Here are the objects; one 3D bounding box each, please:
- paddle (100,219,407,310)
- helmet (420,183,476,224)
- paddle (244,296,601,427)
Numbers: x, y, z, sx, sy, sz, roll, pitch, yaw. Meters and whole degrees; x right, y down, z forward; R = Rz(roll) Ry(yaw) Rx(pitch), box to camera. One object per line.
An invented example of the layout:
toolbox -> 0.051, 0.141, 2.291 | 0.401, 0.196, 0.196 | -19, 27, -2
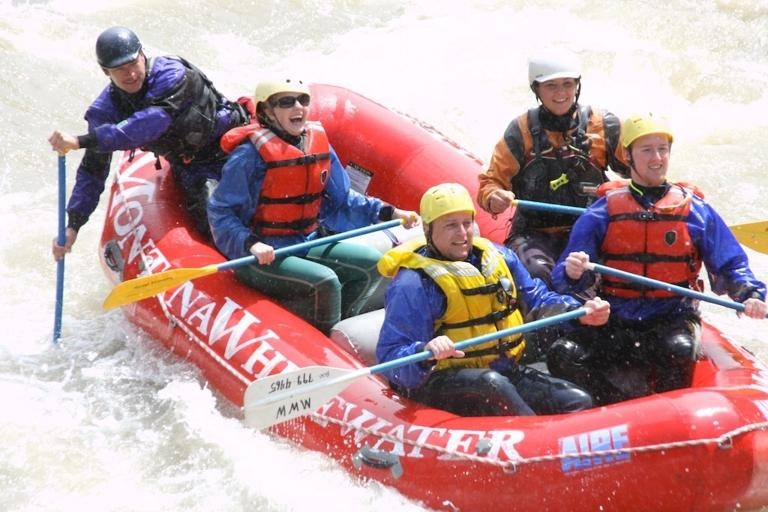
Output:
paddle -> -0.888, 0.070, 5.718 | 2.214, 0.116, 0.234 | -12, 47, -7
helmet -> 0.369, -0.317, 4.942 | 0.232, 0.285, 0.172 | -19, 102, -36
paddle -> 0.281, 0.672, 5.027 | 2.818, 0.117, 0.377 | -14, 80, -9
